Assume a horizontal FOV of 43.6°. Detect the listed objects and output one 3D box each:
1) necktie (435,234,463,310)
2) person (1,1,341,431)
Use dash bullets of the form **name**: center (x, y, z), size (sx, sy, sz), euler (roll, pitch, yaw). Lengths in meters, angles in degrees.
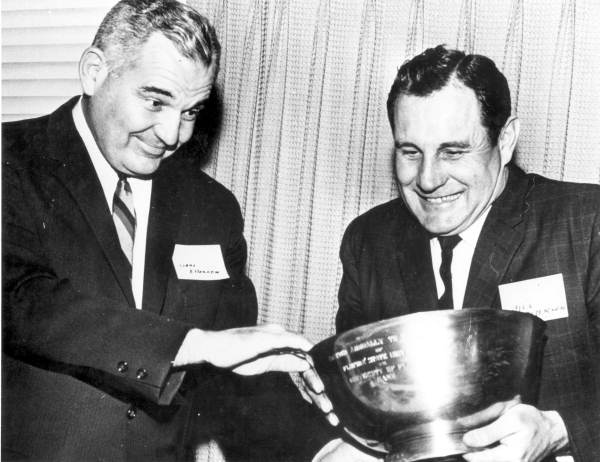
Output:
- **necktie**: center (0.505, 0.137, 2.559), size (0.081, 0.230, 0.085), euler (1, 16, 13)
- **person**: center (-0.548, -0.034, 2.556), size (1.030, 1.408, 0.311), euler (-3, 15, -3)
